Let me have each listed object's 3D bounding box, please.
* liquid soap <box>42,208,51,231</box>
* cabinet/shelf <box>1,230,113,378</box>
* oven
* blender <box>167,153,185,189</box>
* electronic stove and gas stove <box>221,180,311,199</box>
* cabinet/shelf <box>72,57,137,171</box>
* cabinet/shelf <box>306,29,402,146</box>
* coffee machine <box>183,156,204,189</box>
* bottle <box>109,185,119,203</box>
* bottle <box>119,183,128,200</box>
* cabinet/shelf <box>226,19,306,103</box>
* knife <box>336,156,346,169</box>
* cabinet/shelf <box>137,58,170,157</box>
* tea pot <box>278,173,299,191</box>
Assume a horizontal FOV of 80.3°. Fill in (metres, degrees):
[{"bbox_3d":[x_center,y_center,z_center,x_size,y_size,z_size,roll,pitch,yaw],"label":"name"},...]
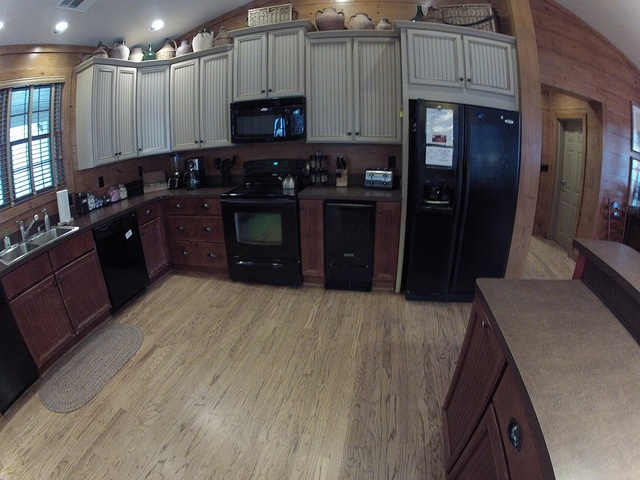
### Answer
[{"bbox_3d":[-2.481,-0.190,3.456,0.054,0.178,0.238,-12,20,-34],"label":"liquid soap"},{"bbox_3d":[-2.145,0.528,3.062,0.478,0.972,0.767,3,26,16],"label":"cabinet/shelf"},{"bbox_3d":[-0.601,-0.063,4.290,0.897,1.007,0.847,7,21,19],"label":"oven"},{"bbox_3d":[-1.696,-0.817,4.480,0.194,0.384,0.355,-5,17,-15],"label":"blender"},{"bbox_3d":[-0.571,-0.547,4.031,0.815,0.159,0.518,3,17,14],"label":"electronic stove and gas stove"},{"bbox_3d":[-2.217,-1.306,3.963,0.290,1.051,0.687,6,17,22],"label":"cabinet/shelf"},{"bbox_3d":[0.315,-1.514,3.941,1.004,1.095,0.437,-2,4,-4],"label":"cabinet/shelf"},{"bbox_3d":[-1.470,-0.773,4.415,0.205,0.331,0.287,-3,16,-9],"label":"coffee machine"},{"bbox_3d":[-2.173,-0.482,4.013,0.046,0.174,0.119,6,7,31],"label":"bottle"},{"bbox_3d":[-2.117,-0.517,4.094,0.112,0.153,0.073,-16,22,-42],"label":"bottle"},{"bbox_3d":[-0.570,-1.899,3.960,0.789,0.760,0.370,-15,52,-18],"label":"cabinet/shelf"},{"bbox_3d":[0.221,-0.824,4.046,0.084,0.153,0.145,0,2,7],"label":"knife"},{"bbox_3d":[-1.837,-1.441,4.207,0.425,0.959,0.111,-8,17,-23],"label":"cabinet/shelf"},{"bbox_3d":[-0.315,-0.573,3.851,0.196,0.155,0.132,1,6,7],"label":"tea pot"}]
